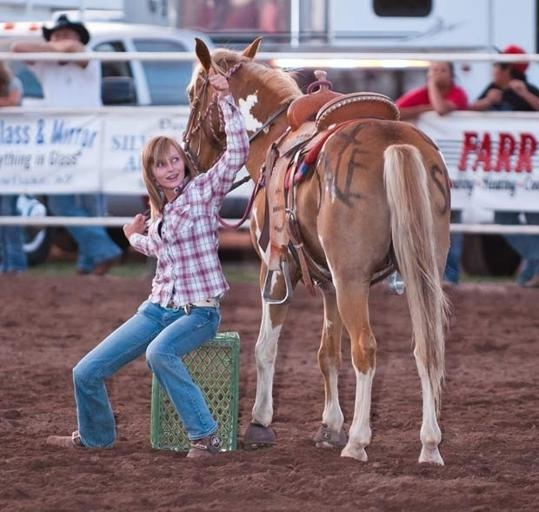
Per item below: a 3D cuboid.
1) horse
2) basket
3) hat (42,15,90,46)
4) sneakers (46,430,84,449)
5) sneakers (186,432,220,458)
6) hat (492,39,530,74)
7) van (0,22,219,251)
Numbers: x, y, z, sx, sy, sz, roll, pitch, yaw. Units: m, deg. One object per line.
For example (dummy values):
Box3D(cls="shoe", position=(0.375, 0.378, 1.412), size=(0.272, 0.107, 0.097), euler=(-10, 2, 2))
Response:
Box3D(cls="horse", position=(0.288, -0.072, 7.813), size=(0.851, 2.339, 1.636), euler=(-8, 12, -34))
Box3D(cls="basket", position=(-0.419, 0.876, 8.041), size=(0.590, 0.752, 0.583), euler=(-3, -23, 8))
Box3D(cls="hat", position=(-1.406, -1.579, 9.514), size=(0.261, 0.104, 0.182), euler=(1, 1, -44))
Box3D(cls="sneakers", position=(-1.141, 1.063, 7.766), size=(0.267, 0.105, 0.080), euler=(7, -6, 3))
Box3D(cls="sneakers", position=(-0.343, 1.066, 7.595), size=(0.214, 0.132, 0.097), euler=(-5, 11, -25))
Box3D(cls="hat", position=(1.786, -1.432, 9.792), size=(0.247, 0.283, 0.318), euler=(1, 19, -3))
Box3D(cls="van", position=(-1.193, -1.393, 11.722), size=(1.939, 1.155, 1.147), euler=(-9, 11, -35))
